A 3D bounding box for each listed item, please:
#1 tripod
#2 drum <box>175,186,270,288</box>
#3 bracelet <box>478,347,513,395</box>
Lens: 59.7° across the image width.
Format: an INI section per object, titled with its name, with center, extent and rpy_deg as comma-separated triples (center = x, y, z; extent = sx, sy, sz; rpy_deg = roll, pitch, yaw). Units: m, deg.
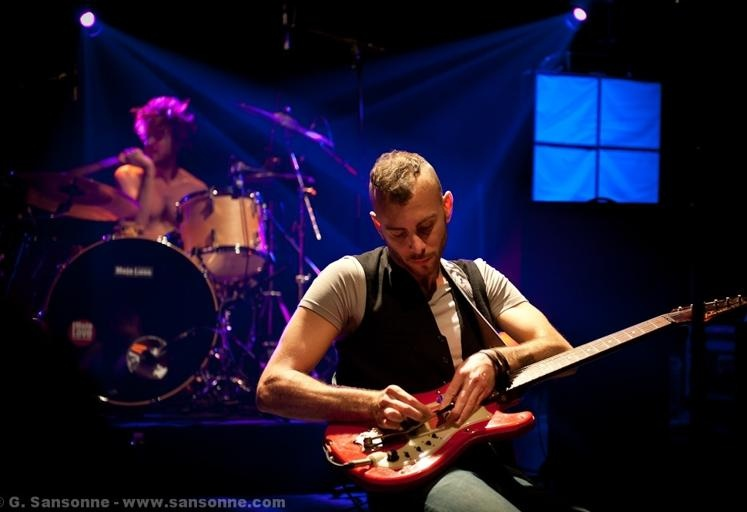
[tripod]
center = -1.360, 0.791, 7.154
extent = 1.236, 1.520, 1.252
rpy_deg = 8, -14, -19
[drum]
center = -1.551, -0.308, 6.661
extent = 0.947, 0.689, 0.936
rpy_deg = -20, -24, -9
[bracelet]
center = 0.826, 0.755, 4.346
extent = 0.193, 0.264, 0.064
rpy_deg = -37, 1, 11
